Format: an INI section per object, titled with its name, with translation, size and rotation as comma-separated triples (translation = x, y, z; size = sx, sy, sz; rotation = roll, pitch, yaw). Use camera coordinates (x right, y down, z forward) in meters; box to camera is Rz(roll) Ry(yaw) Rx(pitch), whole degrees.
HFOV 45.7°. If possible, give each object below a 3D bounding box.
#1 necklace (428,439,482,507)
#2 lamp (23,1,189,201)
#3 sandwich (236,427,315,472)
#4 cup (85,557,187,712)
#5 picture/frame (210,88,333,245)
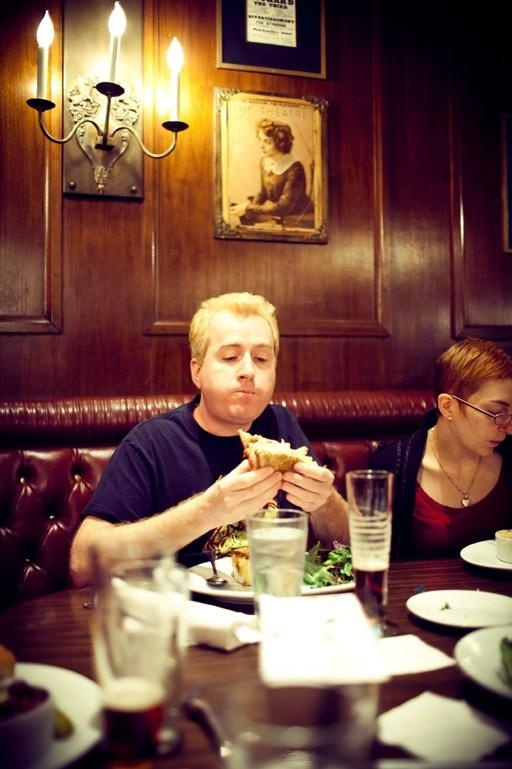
[necklace]
translation = 0.718, 0.311, 2.183
size = 0.124, 0.252, 0.057
rotation = -7, -23, -15
[lamp]
translation = -0.583, -1.268, 2.524
size = 0.677, 0.853, 0.462
rotation = 0, 0, -21
[sandwich]
translation = 0.064, 0.159, 1.440
size = 0.125, 0.057, 0.094
rotation = 37, -34, -21
[cup]
translation = -0.125, 0.272, 0.656
size = 0.097, 0.152, 0.047
rotation = 0, 0, -9
[picture/frame]
translation = 0.046, -1.046, 2.911
size = 0.674, 0.904, 0.073
rotation = 0, -3, -23
